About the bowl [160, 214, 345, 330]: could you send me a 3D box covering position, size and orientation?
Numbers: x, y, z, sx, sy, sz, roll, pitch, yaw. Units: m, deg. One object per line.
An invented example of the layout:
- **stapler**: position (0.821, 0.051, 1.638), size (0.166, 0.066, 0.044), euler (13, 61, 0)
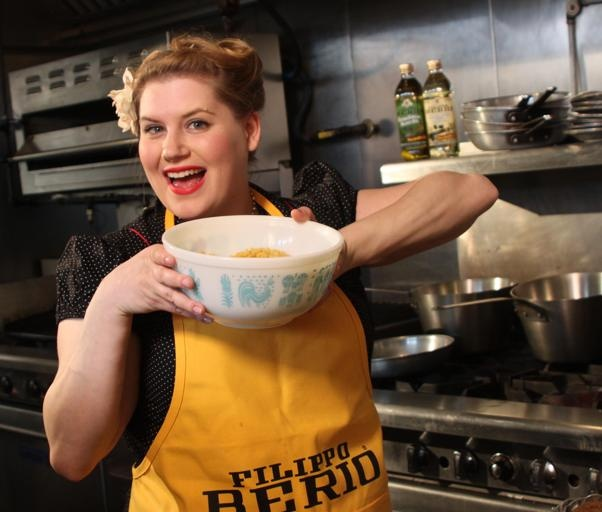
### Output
- **bowl**: position (-0.061, 0.017, 0.875), size (0.246, 0.147, 0.240), euler (-8, 3, 0)

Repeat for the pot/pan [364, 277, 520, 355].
- **pot/pan**: position (0.445, 0.159, 1.720), size (0.318, 0.118, 0.190), euler (-9, -1, 1)

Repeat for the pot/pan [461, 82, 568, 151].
- **pot/pan**: position (0.582, -0.375, 1.613), size (0.166, 0.106, 0.266), euler (-8, 15, -6)
